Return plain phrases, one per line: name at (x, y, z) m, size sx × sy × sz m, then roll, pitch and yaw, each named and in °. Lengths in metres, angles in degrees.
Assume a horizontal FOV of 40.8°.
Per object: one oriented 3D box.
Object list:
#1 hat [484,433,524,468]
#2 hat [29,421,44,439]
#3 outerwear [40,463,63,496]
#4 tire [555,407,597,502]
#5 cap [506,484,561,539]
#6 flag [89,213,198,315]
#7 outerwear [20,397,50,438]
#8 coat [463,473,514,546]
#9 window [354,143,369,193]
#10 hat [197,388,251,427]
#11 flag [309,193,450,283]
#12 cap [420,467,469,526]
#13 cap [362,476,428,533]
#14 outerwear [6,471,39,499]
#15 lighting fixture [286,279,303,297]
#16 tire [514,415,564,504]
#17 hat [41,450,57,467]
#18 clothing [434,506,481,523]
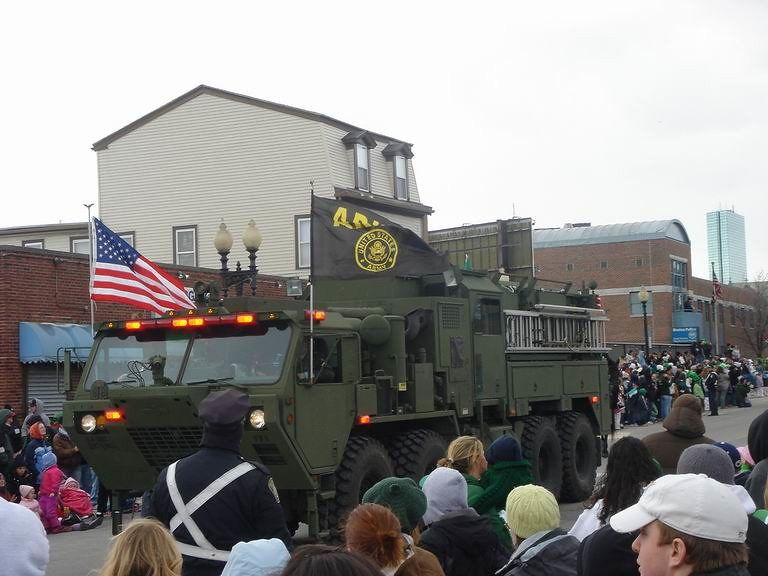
hat at (1.064, 1.447, 9.272) m, size 0.245 × 0.205 × 0.324 m, roll 2°, pitch -4°, yaw -28°
hat at (-5.380, 2.206, 16.012) m, size 0.253 × 0.268 × 0.279 m, roll 1°, pitch 1°, yaw -8°
outerwear at (-5.000, 2.878, 15.525) m, size 0.426 × 0.387 × 0.237 m, roll 1°, pitch -23°, yaw 18°
tire at (3.158, 2.816, 17.268) m, size 0.493 × 1.519 × 1.541 m, roll -6°, pitch -31°, yaw 23°
cap at (1.043, 1.617, 7.470) m, size 0.321 × 0.401 × 0.405 m, roll 0°, pitch 3°, yaw 3°
flag at (-5.076, -0.571, 22.537) m, size 0.323 × 2.079 × 2.972 m, roll -25°, pitch -32°, yaw 38°
outerwear at (-5.586, 2.116, 16.552) m, size 0.442 × 0.631 × 0.344 m, roll -3°, pitch -17°, yaw 1°
coat at (0.851, 1.930, 9.039) m, size 0.246 × 0.323 × 0.423 m, roll -30°, pitch -53°, yaw 13°
window at (-0.729, -4.095, 35.049) m, size 0.417 × 1.630 × 0.877 m, roll 2°, pitch 1°, yaw 28°
hat at (-1.144, 0.850, 7.401) m, size 0.339 × 0.238 × 0.272 m, roll 1°, pitch 1°, yaw -8°
flag at (-0.085, -0.753, 15.105) m, size 2.311 × 1.427 × 0.252 m, roll -4°, pitch -4°, yaw 27°
cap at (0.474, 1.604, 8.010) m, size 0.331 × 0.380 × 0.460 m, roll -5°, pitch -6°, yaw 5°
cap at (0.069, 1.496, 6.998) m, size 0.423 × 0.253 × 0.409 m, roll 1°, pitch 1°, yaw -1°
outerwear at (-5.340, 2.895, 15.234) m, size 0.266 × 0.457 × 0.482 m, roll -18°, pitch -14°, yaw 28°
lighting fixture at (-1.543, -0.012, 17.772) m, size 0.363 × 0.369 × 0.292 m, roll 0°, pitch 6°, yaw -1°
tire at (2.490, 2.834, 16.841) m, size 0.438 × 1.421 × 1.462 m, roll -3°, pitch -19°, yaw 26°
hat at (-5.085, 2.617, 15.772) m, size 0.211 × 0.201 × 0.160 m, roll 1°, pitch -3°, yaw 11°
clothing at (0.550, 1.694, 7.774) m, size 0.222 × 0.090 × 0.170 m, roll -7°, pitch -9°, yaw 12°
